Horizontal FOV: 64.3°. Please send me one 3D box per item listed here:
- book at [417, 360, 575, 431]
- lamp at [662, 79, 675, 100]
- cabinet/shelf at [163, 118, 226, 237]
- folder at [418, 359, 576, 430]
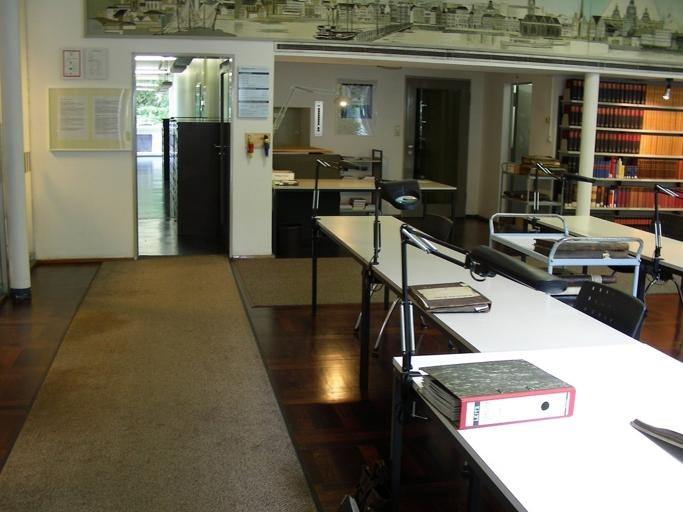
[{"bbox_3d":[0.519,0.455,1.777,0.249,0.061,0.241,-2,11,-14],"label":"book"},{"bbox_3d":[5.262,-2.704,8.793,0.134,0.327,1.471,9,16,29],"label":"lamp"},{"bbox_3d":[-2.237,-1.208,8.608,1.055,1.812,0.630,3,14,8],"label":"cabinet/shelf"},{"bbox_3d":[0.511,0.452,1.776,0.252,0.061,0.244,-2,11,-14],"label":"folder"}]
